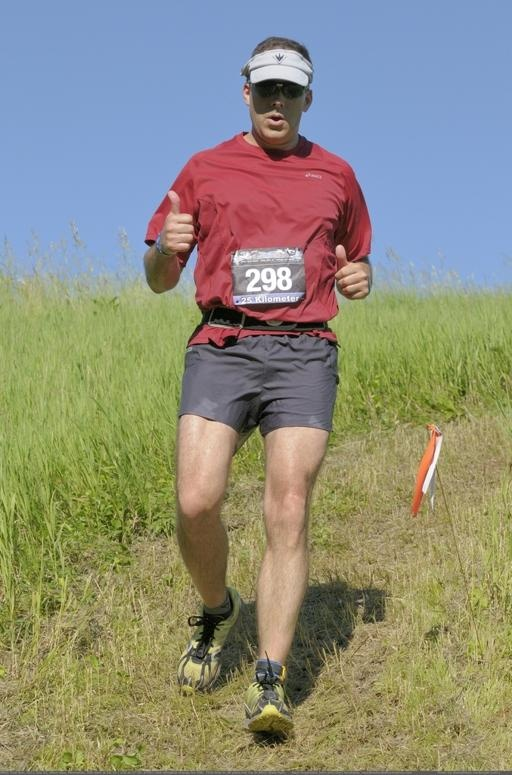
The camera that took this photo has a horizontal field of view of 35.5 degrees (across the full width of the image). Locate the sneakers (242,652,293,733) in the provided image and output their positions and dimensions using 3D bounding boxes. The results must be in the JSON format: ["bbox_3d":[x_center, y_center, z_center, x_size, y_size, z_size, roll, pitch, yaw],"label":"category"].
[{"bbox_3d":[0.036,0.994,2.609,0.105,0.153,0.304,2,2,-2],"label":"sneakers"}]

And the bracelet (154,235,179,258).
[{"bbox_3d":[-0.328,-0.496,2.833,0.065,0.084,0.035,-14,-10,1],"label":"bracelet"}]

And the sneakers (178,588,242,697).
[{"bbox_3d":[-0.154,0.950,3.127,0.153,0.442,0.195,12,-23,6],"label":"sneakers"}]

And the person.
[{"bbox_3d":[0.008,-0.025,2.866,0.617,2.371,0.894,4,10,32],"label":"person"}]

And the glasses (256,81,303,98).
[{"bbox_3d":[0.085,-1.073,2.898,0.086,0.027,0.090,1,4,-7],"label":"glasses"}]
